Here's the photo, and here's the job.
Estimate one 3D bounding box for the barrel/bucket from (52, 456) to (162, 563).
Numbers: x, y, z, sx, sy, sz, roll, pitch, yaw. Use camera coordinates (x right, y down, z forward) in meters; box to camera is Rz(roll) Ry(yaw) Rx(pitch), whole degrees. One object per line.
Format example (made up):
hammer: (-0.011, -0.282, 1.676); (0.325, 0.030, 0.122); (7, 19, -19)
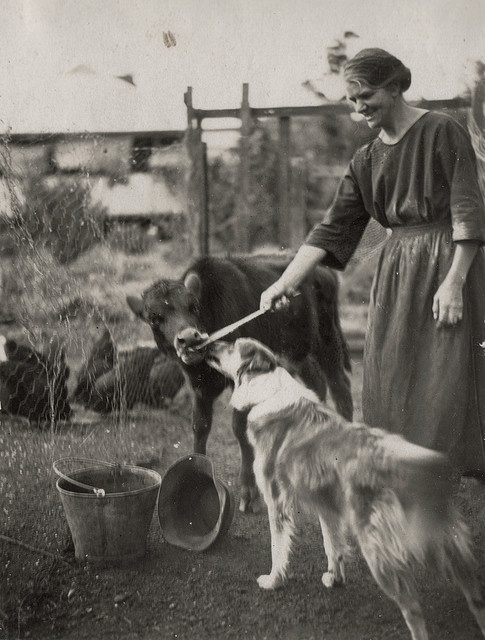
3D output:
barrel/bucket: (-0.622, 0.791, 5.672); (0.477, 0.510, 0.414); (-2, 4, -28)

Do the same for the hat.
hat: (-0.236, 0.813, 5.586); (0.269, 0.462, 0.499); (0, 8, 5)

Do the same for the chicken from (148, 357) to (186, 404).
chicken: (-0.337, 0.235, 5.573); (0.119, 0.233, 0.137); (-2, 8, -19)
